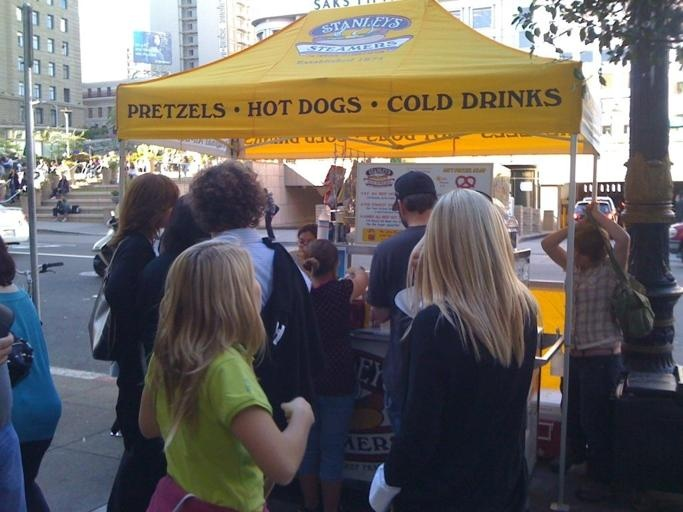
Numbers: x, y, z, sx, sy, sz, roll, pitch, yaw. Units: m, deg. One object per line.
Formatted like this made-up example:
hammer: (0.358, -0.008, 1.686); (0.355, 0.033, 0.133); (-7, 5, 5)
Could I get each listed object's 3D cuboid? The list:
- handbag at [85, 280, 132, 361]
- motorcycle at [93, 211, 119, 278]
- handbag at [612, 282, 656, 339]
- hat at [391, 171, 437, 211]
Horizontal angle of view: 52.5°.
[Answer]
handbag: (-1.643, 0.479, 4.795); (0.156, 0.641, 0.512); (-2, 6, -23)
motorcycle: (-4.633, 0.046, 13.465); (0.371, 0.528, 0.756); (11, -37, -31)
handbag: (2.304, 0.406, 5.454); (0.227, 0.440, 0.321); (-6, -2, 40)
hat: (0.517, -0.491, 4.824); (0.238, 0.199, 0.243); (5, 8, 44)
